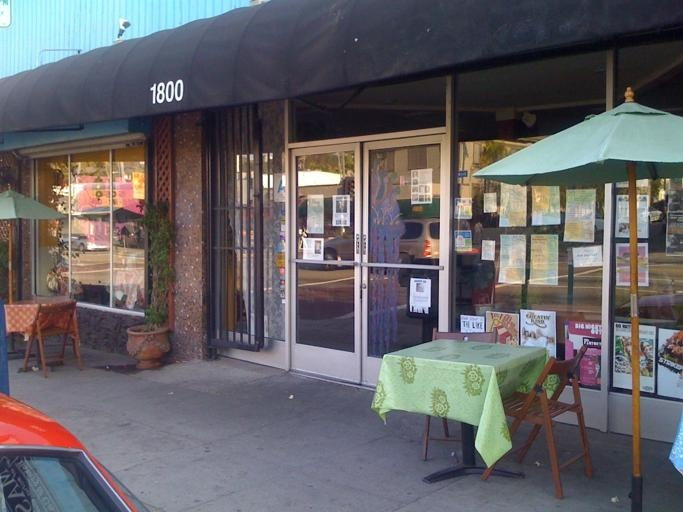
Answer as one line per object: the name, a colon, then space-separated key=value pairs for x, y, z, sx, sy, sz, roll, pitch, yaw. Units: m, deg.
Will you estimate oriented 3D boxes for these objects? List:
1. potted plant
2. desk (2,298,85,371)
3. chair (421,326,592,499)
potted plant: x=-2.817 y=0.391 z=9.888 sx=0.614 sy=2.370 sz=0.999 roll=-1 pitch=7 yaw=-1
desk: x=-4.339 y=1.095 z=9.735 sx=1.061 sy=1.594 sz=1.087 roll=2 pitch=-8 yaw=-44
chair: x=1.452 y=1.382 z=6.368 sx=1.656 sy=1.692 sz=1.061 roll=2 pitch=2 yaw=39
